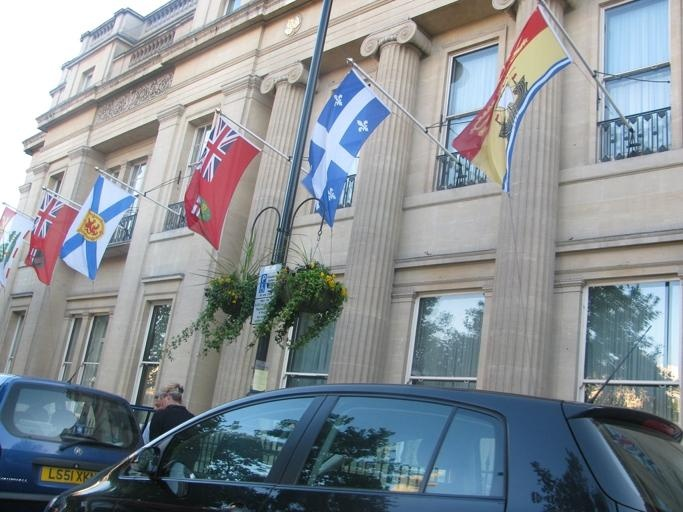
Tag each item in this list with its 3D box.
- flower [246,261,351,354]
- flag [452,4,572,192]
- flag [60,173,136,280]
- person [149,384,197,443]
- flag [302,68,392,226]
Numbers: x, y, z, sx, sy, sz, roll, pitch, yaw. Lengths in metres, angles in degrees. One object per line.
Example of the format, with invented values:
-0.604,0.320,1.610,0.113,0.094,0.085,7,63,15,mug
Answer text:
-0.494,0.666,8.447,1.188,0.784,1.052,-11,-7,26,flower
2.654,-2.390,7.875,1.764,2.603,0.869,-13,2,16,flag
-7.054,-0.835,14.550,2.187,3.189,0.829,-14,2,13,flag
-2.567,2.347,7.514,0.449,0.863,0.833,10,-4,20,person
0.032,-1.967,9.077,1.626,2.752,0.553,-14,2,-2,flag
